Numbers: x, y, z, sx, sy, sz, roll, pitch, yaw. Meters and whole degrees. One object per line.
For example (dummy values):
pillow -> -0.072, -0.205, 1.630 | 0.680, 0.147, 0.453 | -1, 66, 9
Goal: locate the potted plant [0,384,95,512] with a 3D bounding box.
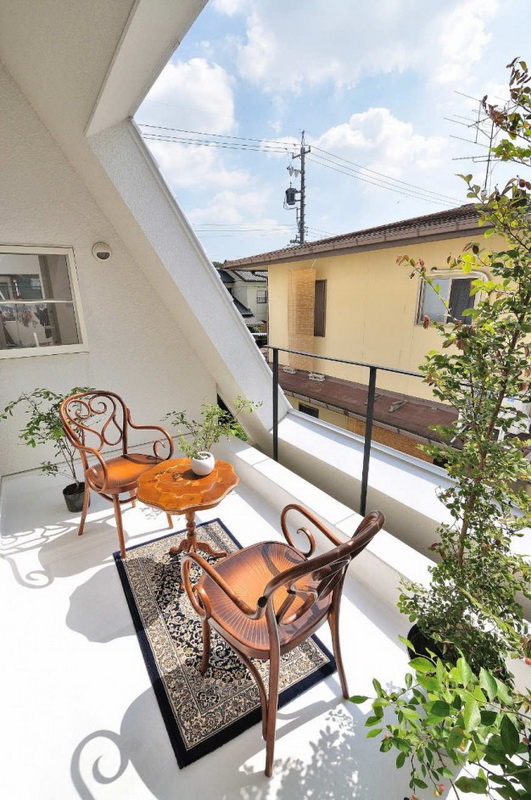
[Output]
potted plant -> -1.600, 0.349, 3.545 | 0.826, 0.948, 0.519 | -2, 39, -12

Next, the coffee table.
coffee table -> -0.416, 0.674, 2.768 | 0.545, 0.449, 0.563 | 9, 21, 31

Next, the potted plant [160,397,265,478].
potted plant -> -0.444, 0.347, 3.920 | 0.677, 0.608, 0.530 | 2, 18, -5

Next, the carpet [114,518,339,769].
carpet -> -0.171, 1.066, 2.055 | 0.585, 0.017, 0.999 | -15, 35, -28

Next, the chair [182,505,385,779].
chair -> 0.042, 0.813, 1.930 | 0.667, 1.024, 0.684 | -8, 26, -16

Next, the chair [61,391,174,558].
chair -> -1.041, 0.524, 3.325 | 0.754, 1.083, 0.686 | 19, 26, 34
